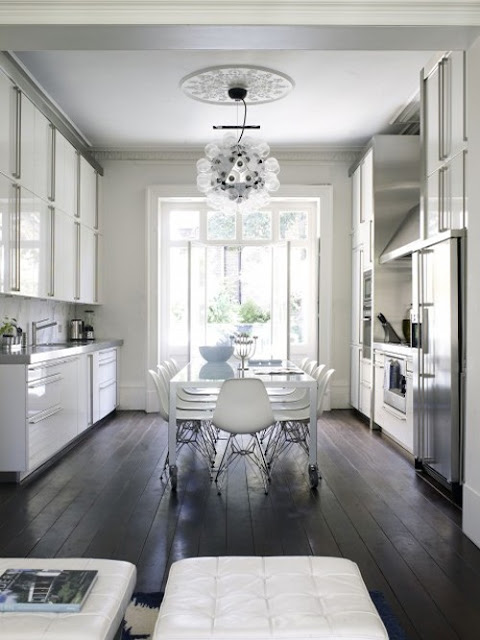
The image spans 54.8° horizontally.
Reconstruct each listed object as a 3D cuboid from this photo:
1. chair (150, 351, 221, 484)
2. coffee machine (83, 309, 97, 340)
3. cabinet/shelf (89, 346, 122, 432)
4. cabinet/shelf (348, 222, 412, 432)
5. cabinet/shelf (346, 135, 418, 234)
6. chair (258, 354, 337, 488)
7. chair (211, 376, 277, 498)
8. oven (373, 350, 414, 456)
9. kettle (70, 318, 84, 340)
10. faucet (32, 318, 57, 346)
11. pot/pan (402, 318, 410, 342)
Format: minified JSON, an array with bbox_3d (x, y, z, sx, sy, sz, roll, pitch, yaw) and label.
[{"bbox_3d":[-0.498,0.768,3.842,0.685,1.125,0.640,-3,-5,14],"label":"chair"},{"bbox_3d":[-1.894,0.058,5.882,0.136,0.371,0.322,-2,3,-19],"label":"coffee machine"},{"bbox_3d":[-1.492,0.776,5.125,0.279,0.778,0.793,0,2,-2],"label":"cabinet/shelf"},{"bbox_3d":[1.583,0.096,5.464,0.361,1.942,1.000,1,-2,-2],"label":"cabinet/shelf"},{"bbox_3d":[1.568,-1.492,5.053,0.388,1.160,1.247,1,4,3],"label":"cabinet/shelf"},{"bbox_3d":[0.439,0.818,3.829,0.694,1.149,0.674,1,-5,-2],"label":"chair"},{"bbox_3d":[0.019,0.727,3.104,0.372,0.806,0.501,1,7,5],"label":"chair"},{"bbox_3d":[1.387,0.763,4.178,0.362,0.755,0.817,1,0,3],"label":"oven"},{"bbox_3d":[-1.955,0.127,5.565,0.130,0.234,0.246,-1,3,-15],"label":"kettle"},{"bbox_3d":[-2.009,0.130,4.799,0.175,0.273,0.835,-2,3,-19],"label":"faucet"},{"bbox_3d":[1.722,0.108,4.824,0.060,0.216,0.243,0,3,17],"label":"pot/pan"}]
